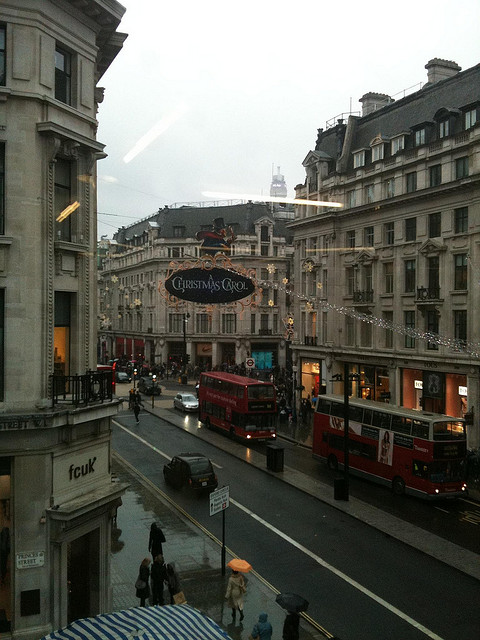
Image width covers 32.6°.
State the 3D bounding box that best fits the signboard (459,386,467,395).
[{"bbox_3d":[10.446,3.298,38.419,0.058,0.399,0.426,4,-2,-10],"label":"signboard"}]

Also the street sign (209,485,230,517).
[{"bbox_3d":[-0.588,4.650,21.061,0.418,0.706,1.055,0,0,23],"label":"street sign"}]

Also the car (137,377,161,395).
[{"bbox_3d":[-6.767,4.965,61.858,1.111,1.053,2.023,1,-4,-29],"label":"car"}]

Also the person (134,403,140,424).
[{"bbox_3d":[-5.917,5.381,47.127,0.294,1.066,0.953,0,0,-9],"label":"person"}]

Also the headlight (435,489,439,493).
[{"bbox_3d":[6.850,5.965,28.582,0.119,0.033,0.129,1,1,9],"label":"headlight"}]

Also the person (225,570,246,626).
[{"bbox_3d":[-0.100,6.273,18.935,0.408,1.230,1.024,0,0,-1],"label":"person"}]

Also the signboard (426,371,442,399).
[{"bbox_3d":[9.570,3.177,40.413,0.143,1.575,1.258,0,-3,-13],"label":"signboard"}]

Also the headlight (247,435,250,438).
[{"bbox_3d":[0.397,5.696,40.123,0.131,0.032,0.136,-1,-1,-5],"label":"headlight"}]

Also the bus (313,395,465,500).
[{"bbox_3d":[5.850,4.980,33.036,2.768,3.345,8.925,0,0,-24],"label":"bus"}]

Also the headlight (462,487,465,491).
[{"bbox_3d":[7.977,6.037,29.342,0.103,0.029,0.111,-3,4,3],"label":"headlight"}]

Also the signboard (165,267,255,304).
[{"bbox_3d":[-1.117,-1.317,30.643,3.040,1.320,0.867,-1,-4,-36],"label":"signboard"}]

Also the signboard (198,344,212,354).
[{"bbox_3d":[-3.475,2.855,82.772,1.412,1.104,0.799,1,-2,5],"label":"signboard"}]

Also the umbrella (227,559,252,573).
[{"bbox_3d":[-0.012,5.696,18.784,0.408,0.297,0.816,0,0,-8],"label":"umbrella"}]

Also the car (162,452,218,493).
[{"bbox_3d":[-1.918,5.629,30.745,1.410,1.389,2.645,-1,8,-31],"label":"car"}]

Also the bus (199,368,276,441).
[{"bbox_3d":[-0.048,4.356,42.925,1.867,2.642,5.365,0,1,-23],"label":"bus"}]

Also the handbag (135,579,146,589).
[{"bbox_3d":[-2.304,6.097,18.850,0.225,0.172,0.251,0,0,14],"label":"handbag"}]

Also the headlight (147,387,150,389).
[{"bbox_3d":[-6.852,5.056,61.266,0.106,0.227,0.114,0,-5,-4],"label":"headlight"}]

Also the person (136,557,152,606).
[{"bbox_3d":[-2.291,6.234,19.454,0.333,1.272,1.394,0,0,-7],"label":"person"}]
